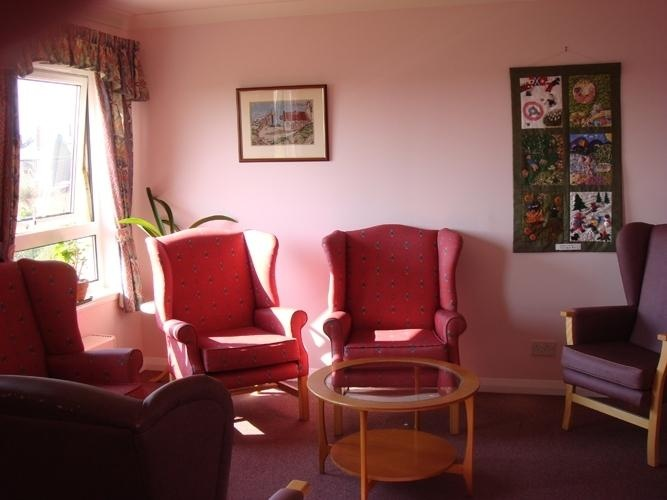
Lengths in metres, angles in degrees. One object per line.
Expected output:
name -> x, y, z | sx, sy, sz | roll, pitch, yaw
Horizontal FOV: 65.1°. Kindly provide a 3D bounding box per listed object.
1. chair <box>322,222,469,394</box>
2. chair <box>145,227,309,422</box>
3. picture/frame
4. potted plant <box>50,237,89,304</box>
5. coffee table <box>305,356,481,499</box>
chair -> 0.418, 0.415, 3.543 | 0.910, 1.192, 0.629 | -1, 2, 3
chair -> -0.723, 0.489, 3.510 | 0.903, 1.205, 0.959 | -2, 3, -25
picture/frame -> -0.349, -0.974, 3.920 | 0.566, 0.498, 0.024 | 0, 10, 15
potted plant -> -1.931, 0.120, 3.892 | 0.170, 0.353, 0.189 | -13, -8, 24
coffee table -> 0.332, 0.934, 2.705 | 0.677, 0.448, 0.689 | -2, 8, -18
